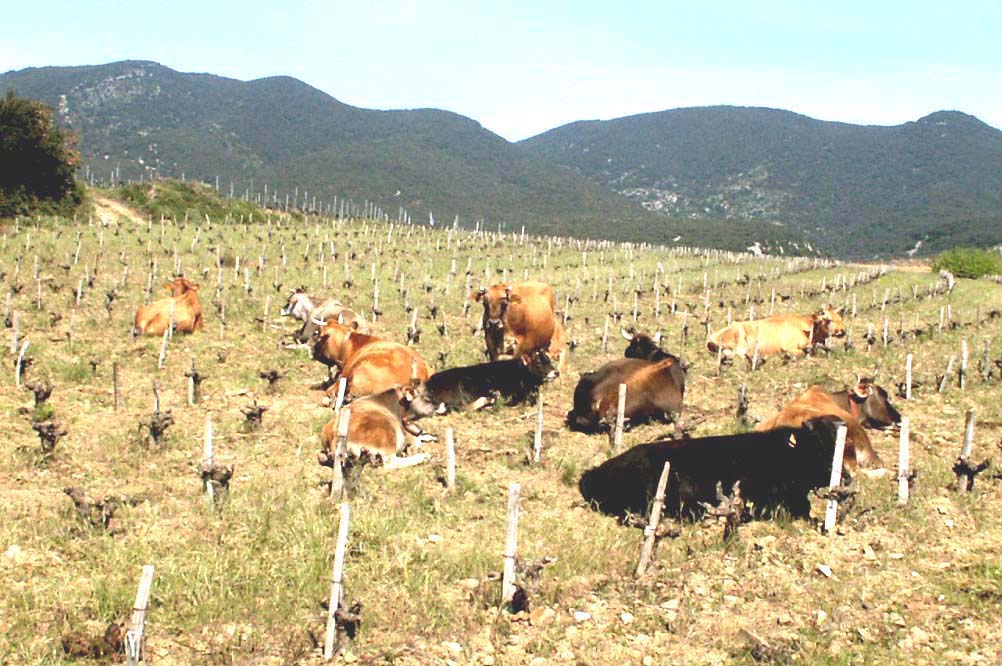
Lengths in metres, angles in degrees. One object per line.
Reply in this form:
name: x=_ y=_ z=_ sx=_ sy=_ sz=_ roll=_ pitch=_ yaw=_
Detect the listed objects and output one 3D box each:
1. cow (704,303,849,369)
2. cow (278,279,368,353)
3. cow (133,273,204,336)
cow: x=11.053 y=0.325 z=40.494 sx=4.740 sy=2.576 sz=1.642 roll=-6 pitch=-21 yaw=28
cow: x=-7.174 y=-0.669 z=41.516 sx=3.925 sy=2.114 sz=1.364 roll=27 pitch=27 yaw=30
cow: x=-12.700 y=-1.059 z=39.844 sx=1.686 sy=2.114 sz=2.767 roll=1 pitch=10 yaw=15
